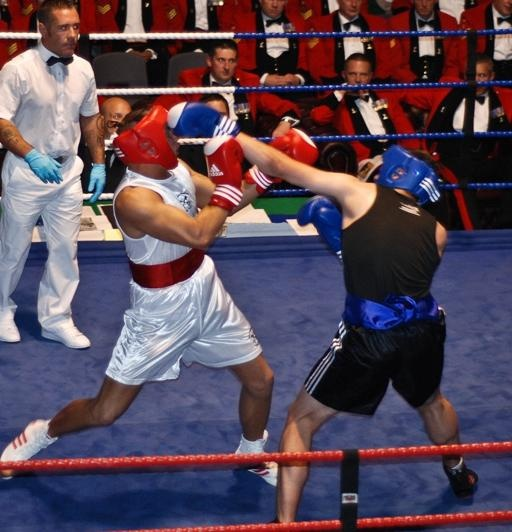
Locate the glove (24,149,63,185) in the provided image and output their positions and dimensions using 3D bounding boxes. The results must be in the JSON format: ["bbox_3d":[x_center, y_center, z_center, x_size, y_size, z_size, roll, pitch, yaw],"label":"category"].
[{"bbox_3d":[-0.911,-0.435,2.735,0.132,0.178,0.051,-47,-3,-23],"label":"glove"}]

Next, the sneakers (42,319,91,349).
[{"bbox_3d":[-0.972,0.320,3.089,0.329,0.106,0.107,8,21,25],"label":"sneakers"}]

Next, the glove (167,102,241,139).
[{"bbox_3d":[-0.153,-0.437,1.903,0.191,0.061,0.118,3,20,-11],"label":"glove"}]

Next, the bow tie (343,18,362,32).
[{"bbox_3d":[0.843,-2.124,5.552,0.161,0.107,0.070,4,17,2],"label":"bow tie"}]

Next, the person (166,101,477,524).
[{"bbox_3d":[0.280,0.131,1.961,0.747,1.183,0.637,-5,20,-29],"label":"person"}]

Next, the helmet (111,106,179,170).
[{"bbox_3d":[-0.339,-0.403,1.943,0.248,0.184,0.163,-17,22,-11],"label":"helmet"}]

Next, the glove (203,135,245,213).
[{"bbox_3d":[-0.084,-0.276,1.872,0.112,0.181,0.167,-8,9,-30],"label":"glove"}]

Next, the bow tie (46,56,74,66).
[{"bbox_3d":[-0.881,-0.923,2.842,0.112,0.049,0.087,-1,15,-15],"label":"bow tie"}]

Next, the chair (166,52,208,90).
[{"bbox_3d":[-0.610,-1.630,5.340,0.370,0.342,0.346,1,9,-5],"label":"chair"}]
